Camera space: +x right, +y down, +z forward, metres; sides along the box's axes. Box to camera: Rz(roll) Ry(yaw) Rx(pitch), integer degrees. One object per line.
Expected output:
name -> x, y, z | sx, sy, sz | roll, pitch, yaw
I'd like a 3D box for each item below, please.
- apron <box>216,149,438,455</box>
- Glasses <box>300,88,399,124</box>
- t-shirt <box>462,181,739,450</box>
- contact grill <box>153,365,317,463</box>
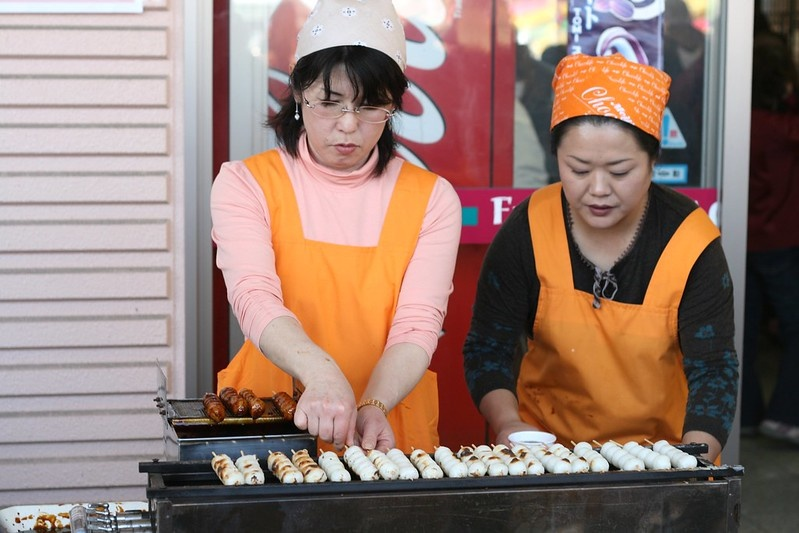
apron -> -0.287, 0.145, 4.180 | 0.921, 1.511, 0.605 | 4, 0, -11
Glasses -> -0.202, -0.635, 4.168 | 0.355, 0.145, 0.096 | -8, 12, -7
t-shirt -> 0.826, 0.216, 4.327 | 0.908, 1.068, 0.566 | 7, 18, 12
contact grill -> -0.641, 0.610, 3.945 | 0.407, 0.316, 0.425 | 2, 0, -14
